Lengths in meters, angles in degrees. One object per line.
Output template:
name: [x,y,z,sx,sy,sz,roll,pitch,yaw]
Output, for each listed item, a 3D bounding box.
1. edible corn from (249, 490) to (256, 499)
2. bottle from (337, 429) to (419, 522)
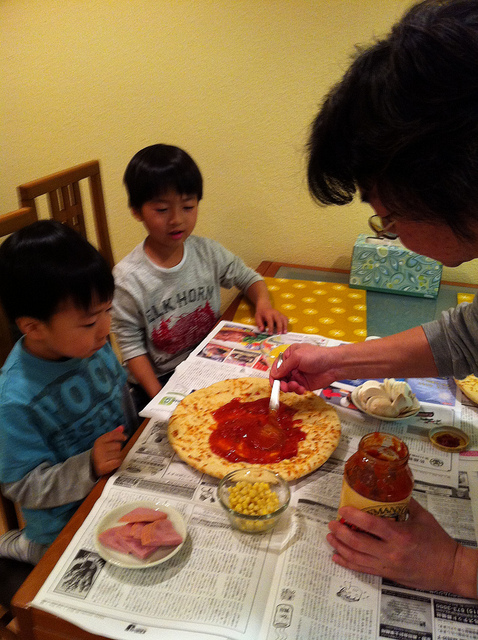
edible corn: [0.021,0.279,0.791,0.009,0.010,0.008,4,60,45]
bottle: [0.201,0.247,0.722,0.101,0.153,0.092,0,26,0]
